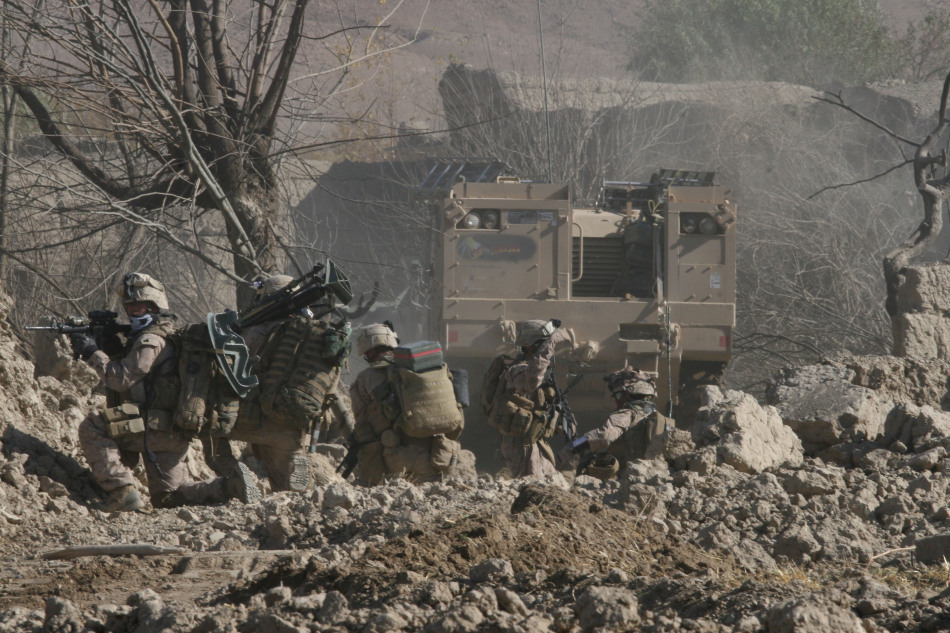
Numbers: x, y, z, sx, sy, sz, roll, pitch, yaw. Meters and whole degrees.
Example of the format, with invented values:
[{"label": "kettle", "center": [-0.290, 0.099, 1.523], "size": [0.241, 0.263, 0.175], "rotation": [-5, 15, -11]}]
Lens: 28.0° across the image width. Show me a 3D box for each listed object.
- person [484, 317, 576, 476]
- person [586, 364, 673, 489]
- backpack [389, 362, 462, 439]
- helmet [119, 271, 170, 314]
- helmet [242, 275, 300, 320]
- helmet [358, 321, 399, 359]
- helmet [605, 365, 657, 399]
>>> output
[{"label": "person", "center": [0.721, 1.077, 26.763], "size": [0.982, 2.097, 1.266], "rotation": [-4, 5, -28]}, {"label": "person", "center": [2.025, 1.561, 26.112], "size": [0.820, 0.682, 1.927], "rotation": [-7, 20, 36]}, {"label": "backpack", "center": [-0.603, 1.043, 25.140], "size": [0.841, 0.974, 0.445], "rotation": [-12, 15, -24]}, {"label": "helmet", "center": [-4.166, -0.384, 24.264], "size": [0.461, 0.535, 0.632], "rotation": [7, 7, 29]}, {"label": "helmet", "center": [-2.574, -0.315, 24.919], "size": [0.382, 0.565, 0.515], "rotation": [-1, -8, -37]}, {"label": "helmet", "center": [-1.304, 0.209, 25.393], "size": [0.376, 0.497, 0.491], "rotation": [-13, 25, -39]}, {"label": "helmet", "center": [2.276, 0.939, 27.826], "size": [0.479, 0.197, 0.476], "rotation": [9, 14, 38]}]
